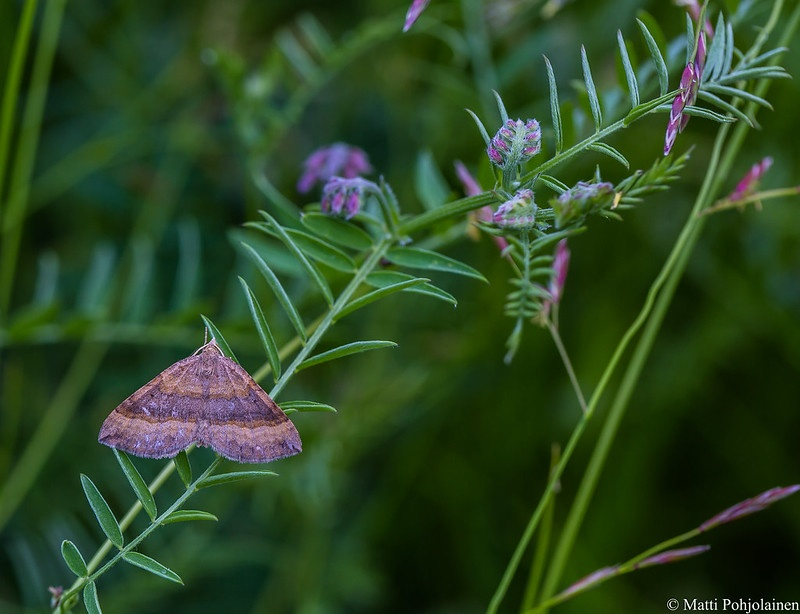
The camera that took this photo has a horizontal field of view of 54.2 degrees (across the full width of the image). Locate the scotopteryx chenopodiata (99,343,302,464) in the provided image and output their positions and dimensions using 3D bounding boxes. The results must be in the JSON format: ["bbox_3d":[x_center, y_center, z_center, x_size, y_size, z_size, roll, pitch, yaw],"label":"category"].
[{"bbox_3d":[-0.239,0.121,0.944,0.229,0.161,0.040,-12,-19,-2],"label":"scotopteryx chenopodiata"}]

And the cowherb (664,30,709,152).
[{"bbox_3d":[0.321,-0.240,0.875,0.032,0.254,0.033,24,-30,-22],"label":"cowherb"}]

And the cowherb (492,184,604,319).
[{"bbox_3d":[0.172,-0.068,0.936,0.037,0.145,0.143,23,-9,37],"label":"cowherb"}]
